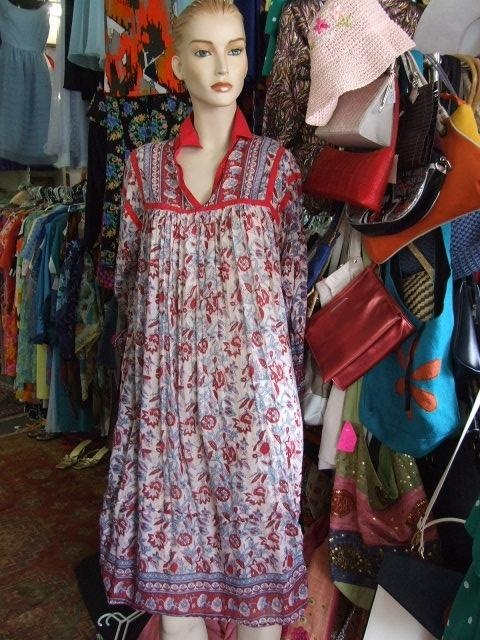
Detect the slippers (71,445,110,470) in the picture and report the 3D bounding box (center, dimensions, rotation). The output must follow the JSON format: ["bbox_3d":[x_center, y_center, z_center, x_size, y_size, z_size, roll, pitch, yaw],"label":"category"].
[{"bbox_3d":[-0.689,0.653,2.357,0.067,0.037,0.195,3,15,21],"label":"slippers"}]

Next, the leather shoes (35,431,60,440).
[{"bbox_3d":[-1.003,0.617,2.673,0.137,0.066,0.052,6,-2,-23],"label":"leather shoes"}]
